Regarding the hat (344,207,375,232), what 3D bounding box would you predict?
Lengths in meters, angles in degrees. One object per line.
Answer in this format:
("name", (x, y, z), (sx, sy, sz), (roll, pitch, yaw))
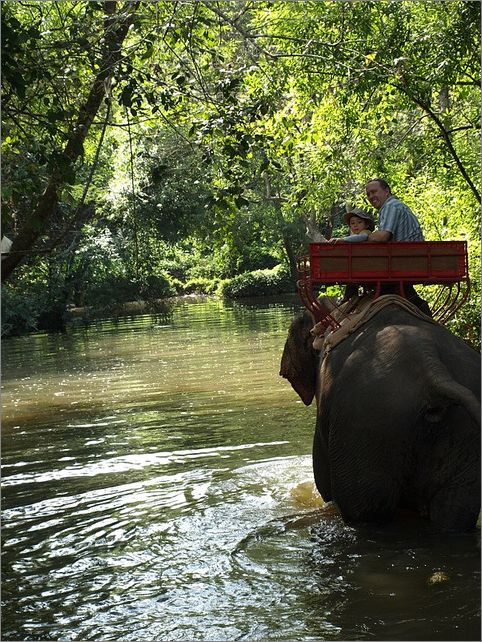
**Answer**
("hat", (0.835, -0.750, 5.072), (0.211, 0.183, 0.105), (8, 53, 46))
